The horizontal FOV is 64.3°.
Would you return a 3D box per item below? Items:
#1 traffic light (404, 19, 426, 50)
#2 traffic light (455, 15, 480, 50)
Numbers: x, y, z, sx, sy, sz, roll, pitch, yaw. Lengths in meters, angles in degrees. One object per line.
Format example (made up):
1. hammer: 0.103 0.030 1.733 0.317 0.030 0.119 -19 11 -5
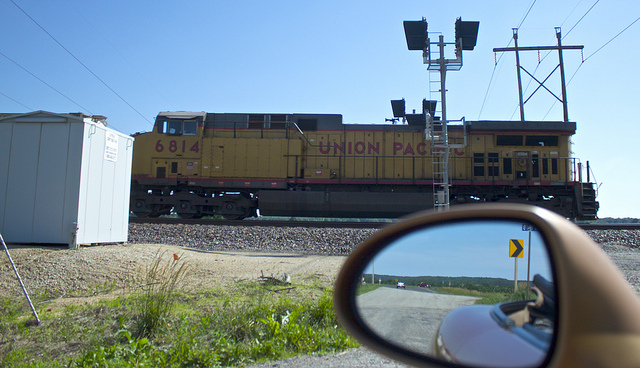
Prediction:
1. traffic light: 3.943 -6.082 20.862 0.888 1.128 0.725 3 11 20
2. traffic light: 5.899 -6.019 20.525 0.902 1.103 0.436 -5 11 -21
